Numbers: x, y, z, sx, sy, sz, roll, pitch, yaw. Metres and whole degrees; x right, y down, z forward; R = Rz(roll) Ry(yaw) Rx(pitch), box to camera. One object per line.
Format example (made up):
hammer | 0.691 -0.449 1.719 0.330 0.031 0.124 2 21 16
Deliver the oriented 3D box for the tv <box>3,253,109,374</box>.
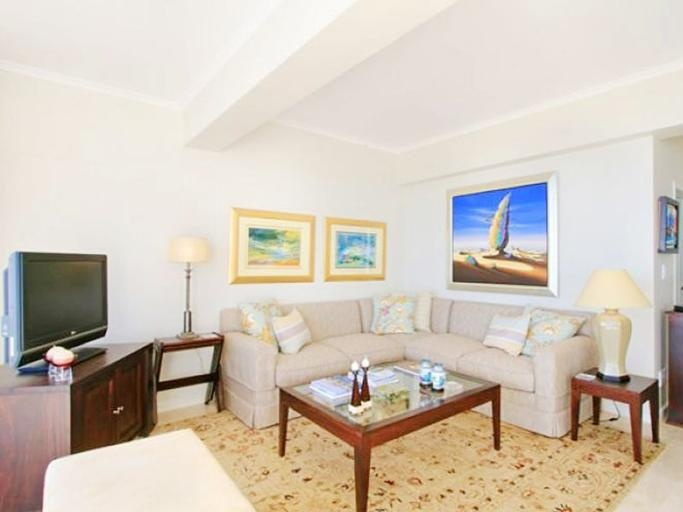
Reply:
tv | -2.174 0.431 3.471 0.278 0.893 0.871 -3 -2 15

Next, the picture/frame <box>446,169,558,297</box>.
picture/frame | 1.902 -0.273 5.361 0.062 1.477 1.485 -1 1 -39

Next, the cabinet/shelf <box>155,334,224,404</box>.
cabinet/shelf | -1.515 1.096 4.552 0.691 0.822 0.399 -2 7 -38

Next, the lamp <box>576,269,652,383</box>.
lamp | 2.397 0.611 4.089 0.585 0.950 0.563 6 -7 -26

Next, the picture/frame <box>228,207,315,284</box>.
picture/frame | -0.833 -0.125 5.213 0.871 0.720 0.050 2 -3 -37

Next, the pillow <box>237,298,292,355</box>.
pillow | -0.807 0.665 4.661 0.139 0.456 0.467 -36 -22 33

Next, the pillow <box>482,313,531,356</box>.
pillow | 1.704 0.777 4.722 0.112 0.393 0.383 25 -11 -24

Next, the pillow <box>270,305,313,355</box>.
pillow | -0.477 0.677 4.810 0.290 0.476 0.576 0 6 28

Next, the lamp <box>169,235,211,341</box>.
lamp | -1.478 0.288 4.567 0.371 0.976 0.532 -4 11 -17

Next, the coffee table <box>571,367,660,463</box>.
coffee table | 2.365 1.331 4.064 0.660 0.704 0.652 1 -2 1

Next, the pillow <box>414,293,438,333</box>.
pillow | 1.016 0.691 5.762 0.108 0.380 0.349 14 -9 -31

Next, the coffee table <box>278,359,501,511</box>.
coffee table | 0.388 1.345 3.826 1.647 0.586 0.996 -7 13 -32

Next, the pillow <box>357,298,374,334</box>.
pillow | 0.315 0.739 5.770 0.136 0.320 0.347 -1 -2 24

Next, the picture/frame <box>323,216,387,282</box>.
picture/frame | 0.130 -0.101 5.942 0.826 0.715 0.061 3 -5 -37
